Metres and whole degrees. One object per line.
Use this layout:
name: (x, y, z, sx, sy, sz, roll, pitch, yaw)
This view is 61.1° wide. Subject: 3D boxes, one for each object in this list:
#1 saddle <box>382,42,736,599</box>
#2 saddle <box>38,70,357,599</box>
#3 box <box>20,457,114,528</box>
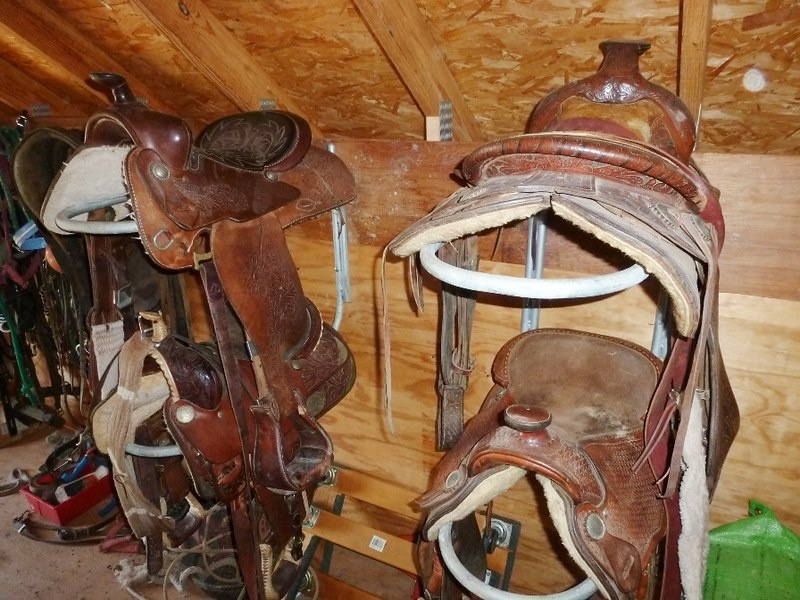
saddle: (0.484, 0.086, 1.875, 0.899, 1.587, 0.625, 8, 13, 21)
saddle: (-0.605, 0.263, 2.274, 0.899, 1.854, 0.636, 3, 12, -3)
box: (-1.568, 0.917, 3.273, 0.319, 0.141, 0.411, 9, 10, 34)
